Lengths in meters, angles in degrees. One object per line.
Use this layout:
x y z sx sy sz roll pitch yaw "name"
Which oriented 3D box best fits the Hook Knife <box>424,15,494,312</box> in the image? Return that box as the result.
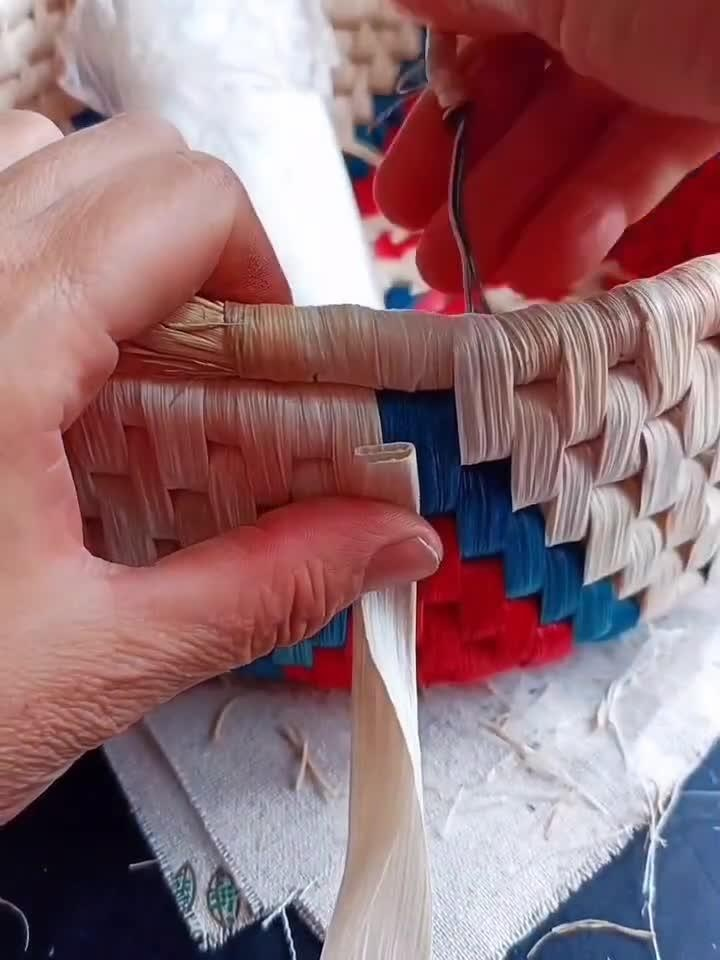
0.063 -0.197 0.586 0.029 0.042 0.220 -6 89 10 "Hook Knife"
